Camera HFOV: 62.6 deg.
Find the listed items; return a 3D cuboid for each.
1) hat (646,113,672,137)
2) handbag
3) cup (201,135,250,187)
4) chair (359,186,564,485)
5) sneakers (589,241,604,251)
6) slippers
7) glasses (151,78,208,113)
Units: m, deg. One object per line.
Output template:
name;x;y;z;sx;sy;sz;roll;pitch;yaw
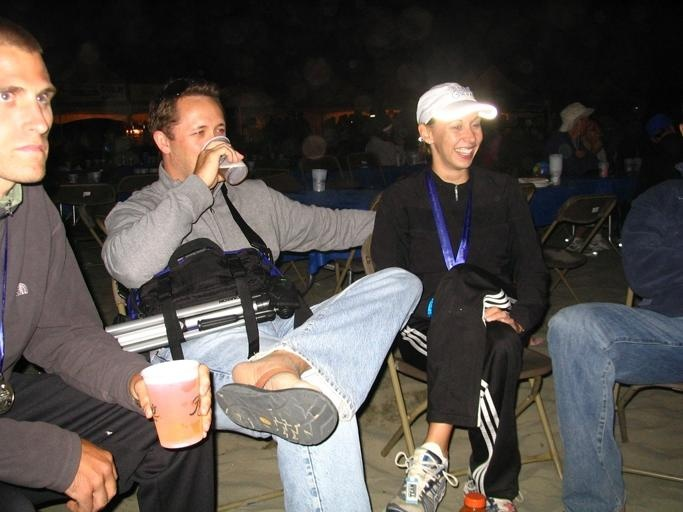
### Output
hat;3.894;-1.633;6.947;0.258;0.180;0.347;-19;12;21
handbag;-0.631;0.108;2.599;0.539;0.248;0.353;-23;-8;-18
cup;-0.564;-0.471;2.838;0.223;0.232;0.252;-16;50;-26
chair;0.681;0.661;3.042;0.785;1.168;0.881;-21;13;-8
sneakers;3.400;-0.129;7.502;0.114;0.044;0.149;3;32;14
slippers;-0.230;0.518;2.043;0.456;0.200;0.160;11;20;13
glasses;-0.815;-0.782;2.850;0.203;0.069;0.211;-16;-17;-34
